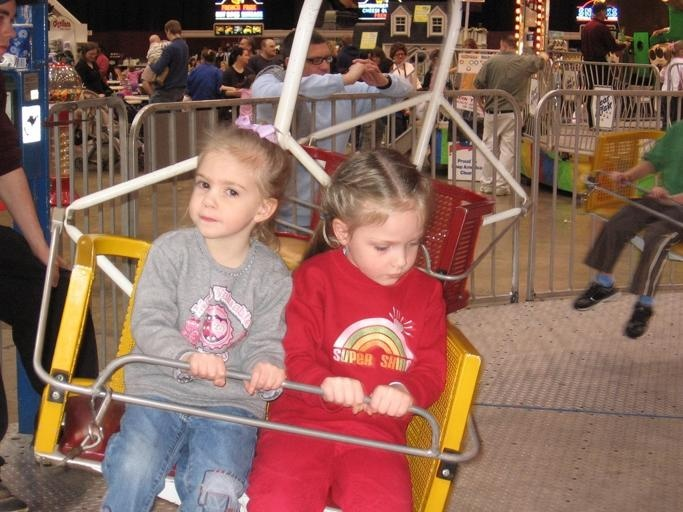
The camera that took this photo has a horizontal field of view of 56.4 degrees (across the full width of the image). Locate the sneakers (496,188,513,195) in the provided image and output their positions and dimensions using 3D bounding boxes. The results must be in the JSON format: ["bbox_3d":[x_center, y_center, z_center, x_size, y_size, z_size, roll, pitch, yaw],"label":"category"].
[{"bbox_3d":[2.184,-0.865,8.558,0.155,0.123,0.304,10,13,20],"label":"sneakers"}]

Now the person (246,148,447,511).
[{"bbox_3d":[0.058,0.178,1.826,0.504,0.944,0.692,6,13,3],"label":"person"}]
